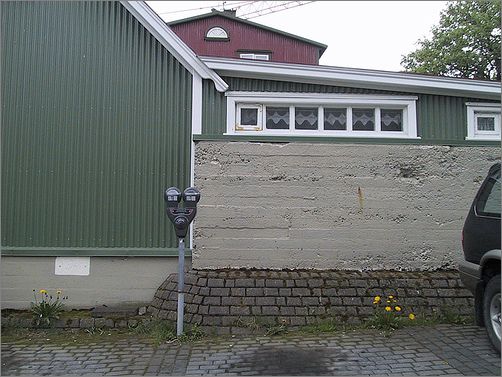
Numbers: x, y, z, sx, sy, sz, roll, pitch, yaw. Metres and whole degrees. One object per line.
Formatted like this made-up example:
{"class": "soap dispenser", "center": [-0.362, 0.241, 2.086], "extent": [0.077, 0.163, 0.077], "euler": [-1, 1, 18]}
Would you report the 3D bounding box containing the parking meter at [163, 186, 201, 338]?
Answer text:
{"class": "parking meter", "center": [-1.184, 1.219, 7.781], "extent": [0.567, 2.511, 0.950], "euler": [-2, 4, -10]}
